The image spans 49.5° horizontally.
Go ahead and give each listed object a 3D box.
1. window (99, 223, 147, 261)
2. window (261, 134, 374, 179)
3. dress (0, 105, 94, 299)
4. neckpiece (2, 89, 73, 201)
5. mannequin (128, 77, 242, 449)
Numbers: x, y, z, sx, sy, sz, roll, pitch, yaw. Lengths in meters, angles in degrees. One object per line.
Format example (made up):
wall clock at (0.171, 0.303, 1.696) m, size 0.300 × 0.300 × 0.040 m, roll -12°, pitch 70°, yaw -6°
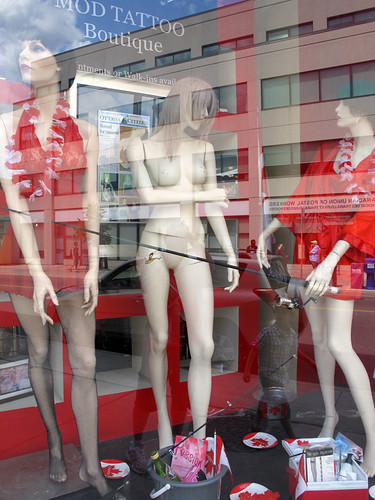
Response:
window at (-0.139, -0.019, 0.868) m, size 0.004 × 0.090 × 0.135 m, roll 14°, pitch 8°, yaw 28°
window at (0.294, -0.235, 1.049) m, size 0.194 × 0.095 × 0.065 m, roll 0°, pitch 9°, yaw 10°
dress at (-0.277, -0.101, 0.815) m, size 0.150 × 0.376 × 0.102 m, roll -4°, pitch 9°, yaw -10°
neckpiece at (-0.291, -0.212, 0.827) m, size 0.140 × 0.197 × 0.045 m, roll 1°, pitch -8°, yaw -4°
mannequin at (-0.014, 0.057, 1.031) m, size 0.293 × 0.951 × 0.226 m, roll -1°, pitch 4°, yaw -5°
